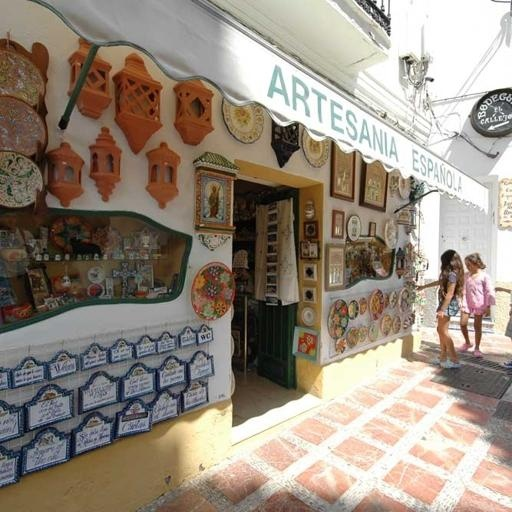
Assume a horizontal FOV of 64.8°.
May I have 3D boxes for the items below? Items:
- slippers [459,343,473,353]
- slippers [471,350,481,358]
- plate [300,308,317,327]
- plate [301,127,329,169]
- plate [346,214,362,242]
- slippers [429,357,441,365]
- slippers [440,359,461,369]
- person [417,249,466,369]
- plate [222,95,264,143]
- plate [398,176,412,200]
[{"bbox_3d":[3.344,1.487,6.485,0.299,0.144,0.109,5,-10,-42],"label":"slippers"},{"bbox_3d":[3.279,1.480,6.054,0.111,0.107,0.141,4,7,29],"label":"slippers"},{"bbox_3d":[0.576,0.684,4.531,0.040,0.222,0.248,-3,7,-28],"label":"plate"},{"bbox_3d":[0.616,-1.089,4.225,0.060,0.530,0.478,3,-4,42],"label":"plate"},{"bbox_3d":[1.146,-0.341,4.833,0.040,0.345,0.284,3,8,41],"label":"plate"},{"bbox_3d":[2.517,1.509,5.748,0.115,0.036,0.125,-3,-1,7],"label":"slippers"},{"bbox_3d":[2.622,1.475,5.507,0.159,0.066,0.118,1,-1,-26],"label":"slippers"},{"bbox_3d":[2.597,0.740,5.650,0.446,1.676,0.998,3,6,25],"label":"person"},{"bbox_3d":[-0.093,-1.171,3.545,0.105,0.362,0.518,4,7,37],"label":"plate"},{"bbox_3d":[2.136,-0.988,5.877,0.116,0.334,0.559,3,7,28],"label":"plate"}]
